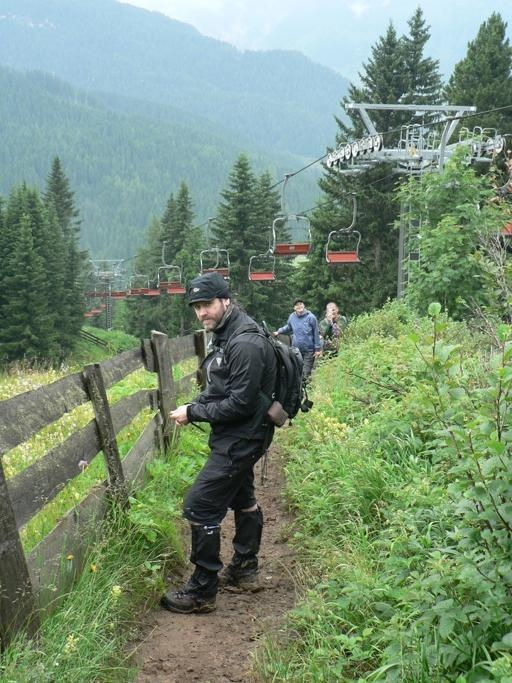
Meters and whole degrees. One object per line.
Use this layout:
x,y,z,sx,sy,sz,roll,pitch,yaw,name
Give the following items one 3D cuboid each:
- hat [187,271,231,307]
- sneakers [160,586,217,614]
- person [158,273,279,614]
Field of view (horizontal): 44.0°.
-0.284,-0.331,4.026,0.184,0.127,0.256,-5,2,26,hat
-0.407,1.593,3.925,0.336,0.153,0.129,10,-9,-10,sneakers
-0.217,0.688,4.002,0.638,2.188,0.912,4,16,2,person
